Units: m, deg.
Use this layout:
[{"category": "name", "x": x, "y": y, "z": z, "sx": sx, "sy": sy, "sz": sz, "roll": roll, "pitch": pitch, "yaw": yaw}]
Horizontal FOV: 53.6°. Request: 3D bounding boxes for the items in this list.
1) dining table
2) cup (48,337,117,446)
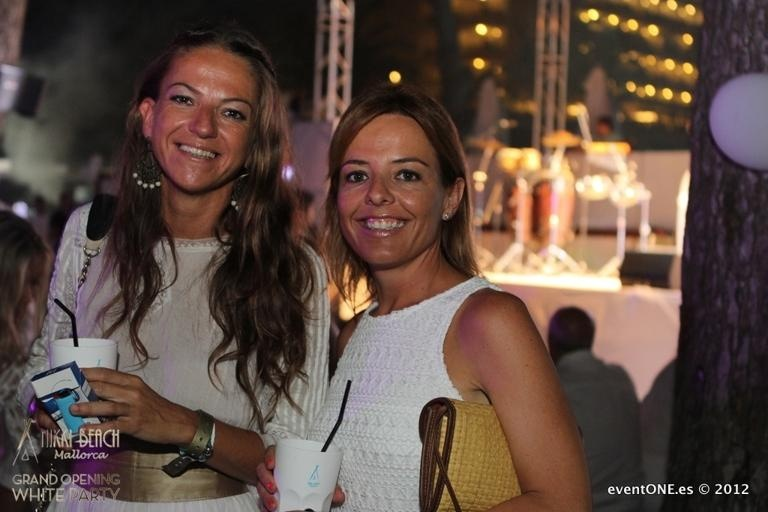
[{"category": "dining table", "x": 1.456, "y": 0.561, "z": 5.846, "sx": 1.190, "sy": 0.797, "sz": 1.276, "roll": 2, "pitch": 13, "yaw": 5}, {"category": "cup", "x": -1.337, "y": 0.589, "z": 3.372, "sx": 0.258, "sy": 0.398, "sz": 0.255, "roll": 2, "pitch": 3, "yaw": 0}]
